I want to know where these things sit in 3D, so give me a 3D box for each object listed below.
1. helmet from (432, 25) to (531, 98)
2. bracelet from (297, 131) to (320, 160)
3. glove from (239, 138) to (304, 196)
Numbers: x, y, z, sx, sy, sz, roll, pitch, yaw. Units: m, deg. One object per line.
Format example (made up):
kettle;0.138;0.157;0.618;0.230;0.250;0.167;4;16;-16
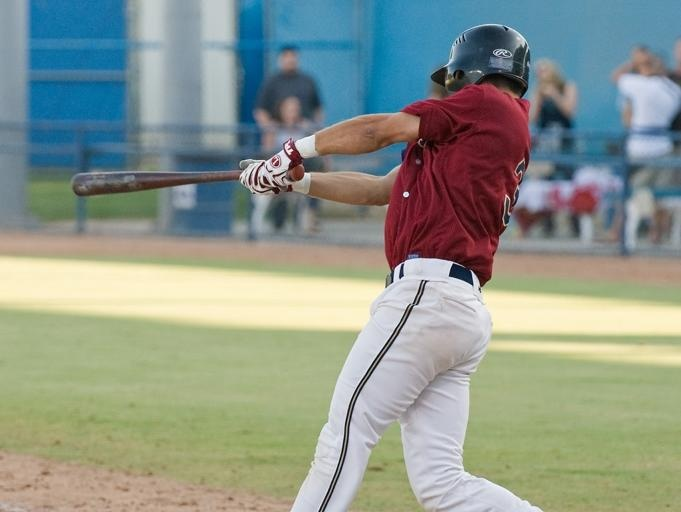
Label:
helmet;0.878;-1.204;9.423;0.554;0.345;0.402;-4;-2;8
bracelet;-0.201;-0.673;9.296;0.131;0.112;0.146;-30;-9;-2
glove;-0.455;-0.522;9.398;0.431;0.248;0.203;-19;-24;30
